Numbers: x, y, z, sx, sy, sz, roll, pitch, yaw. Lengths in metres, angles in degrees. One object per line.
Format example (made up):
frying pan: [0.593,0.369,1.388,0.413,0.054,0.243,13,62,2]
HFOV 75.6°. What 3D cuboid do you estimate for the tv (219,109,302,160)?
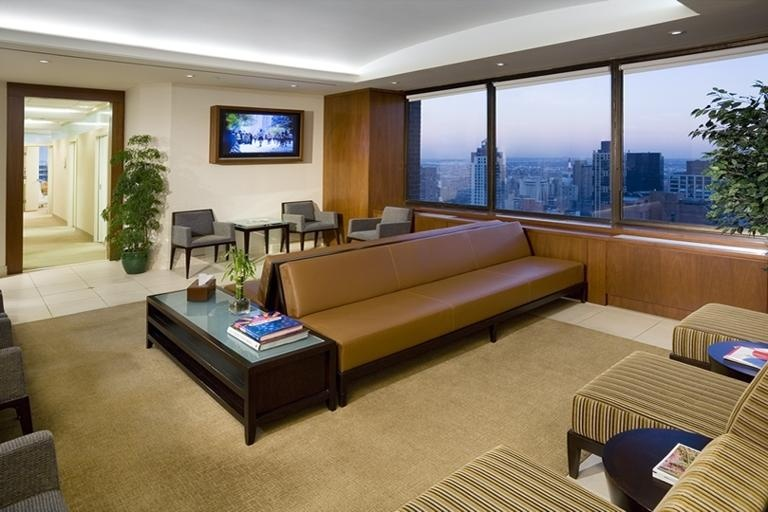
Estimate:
tv: [-2.358,-2.284,9.237,1.137,0.638,0.151,-4,7,-35]

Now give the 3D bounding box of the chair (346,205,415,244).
chair: [-0.040,-0.545,8.579,0.890,0.874,0.784,-2,6,-43]

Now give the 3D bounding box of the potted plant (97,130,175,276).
potted plant: [-4.175,-0.899,8.396,1.035,2.245,1.024,-13,16,-40]

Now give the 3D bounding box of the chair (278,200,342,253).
chair: [-1.414,-0.576,9.591,0.982,0.929,0.888,-6,12,-30]

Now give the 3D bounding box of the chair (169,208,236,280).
chair: [-3.066,-0.277,8.395,0.754,0.876,0.932,12,16,39]
